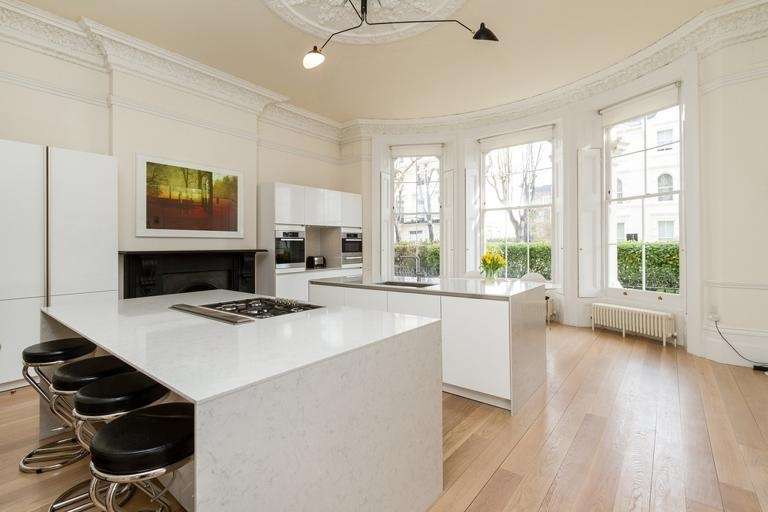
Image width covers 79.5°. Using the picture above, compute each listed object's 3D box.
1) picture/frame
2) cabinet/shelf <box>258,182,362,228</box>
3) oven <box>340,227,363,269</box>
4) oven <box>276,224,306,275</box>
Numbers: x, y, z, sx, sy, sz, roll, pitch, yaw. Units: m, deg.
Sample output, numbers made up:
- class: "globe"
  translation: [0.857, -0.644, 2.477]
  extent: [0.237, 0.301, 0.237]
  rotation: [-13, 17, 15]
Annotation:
- class: "picture/frame"
  translation: [-2.793, -0.859, 6.465]
  extent: [1.351, 0.981, 0.037]
  rotation: [0, 1, -44]
- class: "cabinet/shelf"
  translation: [-1.205, -0.823, 7.716]
  extent: [1.798, 0.847, 0.399]
  rotation: [-11, 18, -43]
- class: "oven"
  translation: [-0.650, -0.124, 8.388]
  extent: [0.491, 0.612, 0.530]
  rotation: [2, 4, 43]
- class: "oven"
  translation: [-1.545, -0.170, 7.424]
  extent: [0.552, 0.674, 0.542]
  rotation: [5, 20, -4]
